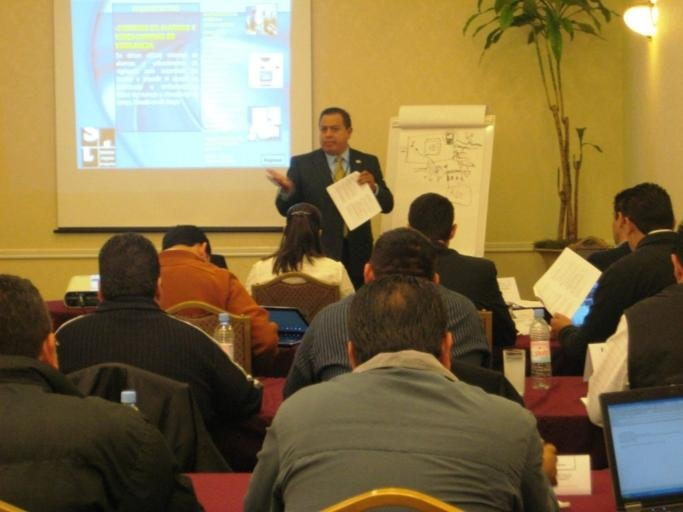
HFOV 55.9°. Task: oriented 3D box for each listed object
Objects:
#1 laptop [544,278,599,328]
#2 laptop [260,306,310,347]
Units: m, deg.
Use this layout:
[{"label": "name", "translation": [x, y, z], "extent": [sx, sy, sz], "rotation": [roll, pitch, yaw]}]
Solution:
[{"label": "laptop", "translation": [1.084, 0.211, 3.013], "extent": [0.046, 0.203, 0.184], "rotation": [29, -16, -10]}, {"label": "laptop", "translation": [-0.283, 0.345, 3.220], "extent": [0.231, 0.173, 0.197], "rotation": [3, -37, -7]}]
